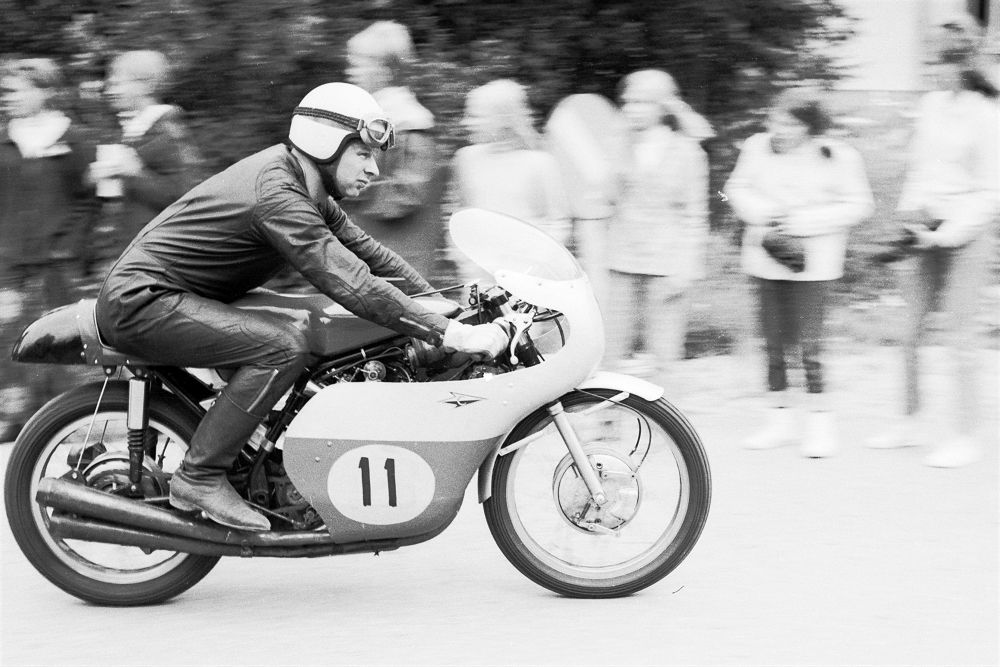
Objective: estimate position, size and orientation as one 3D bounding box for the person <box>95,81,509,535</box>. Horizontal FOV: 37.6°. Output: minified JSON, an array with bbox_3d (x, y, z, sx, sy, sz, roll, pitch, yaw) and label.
[{"bbox_3d":[-1.223,-0.153,7.900,1.833,2.246,1.030,-9,24,-12],"label":"person"}]

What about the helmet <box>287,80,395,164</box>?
[{"bbox_3d":[-0.830,-1.139,7.943,0.595,0.338,0.496,6,15,-12],"label":"helmet"}]

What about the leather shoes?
[{"bbox_3d":[-1.504,0.872,7.975,0.773,0.253,0.224,16,2,-5],"label":"leather shoes"}]
